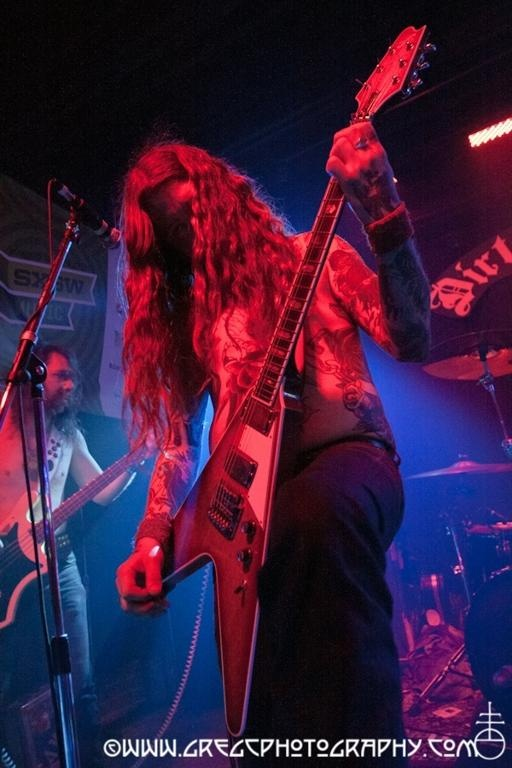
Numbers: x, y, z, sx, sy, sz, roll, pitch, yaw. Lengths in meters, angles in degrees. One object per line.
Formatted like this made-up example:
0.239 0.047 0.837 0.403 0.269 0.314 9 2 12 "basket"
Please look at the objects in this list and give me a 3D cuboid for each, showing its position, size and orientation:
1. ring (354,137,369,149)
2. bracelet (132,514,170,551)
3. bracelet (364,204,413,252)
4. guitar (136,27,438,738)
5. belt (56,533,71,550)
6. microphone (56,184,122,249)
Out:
0.224 -0.518 1.321 0.028 0.027 0.006 -10 -9 0 "ring"
-0.304 0.430 1.813 0.074 0.090 0.093 11 -41 -11 "bracelet"
0.296 -0.337 1.403 0.103 0.076 0.102 -29 -11 -1 "bracelet"
-0.061 0.158 1.534 0.371 1.218 0.730 0 -13 -45 "guitar"
-1.131 0.933 3.659 0.073 0.098 0.068 -4 -6 -29 "belt"
-0.708 -0.703 2.553 0.164 0.198 0.315 -13 -10 17 "microphone"
